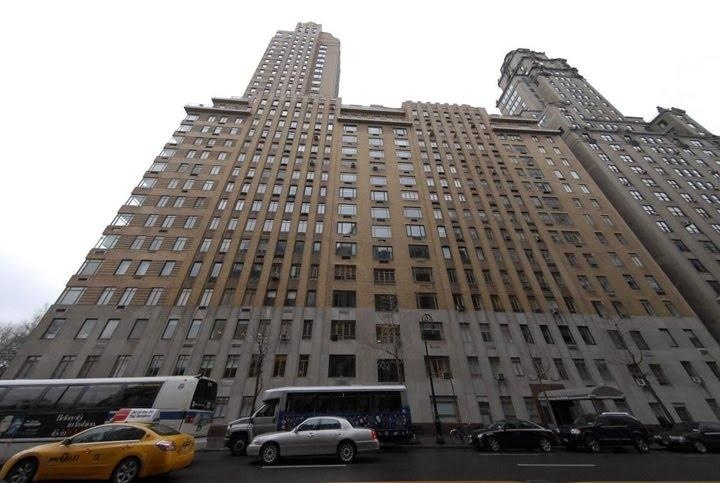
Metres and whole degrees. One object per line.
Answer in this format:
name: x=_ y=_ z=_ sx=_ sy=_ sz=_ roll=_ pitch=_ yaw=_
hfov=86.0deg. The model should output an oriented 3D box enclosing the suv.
suv: x=19.470 y=15.339 z=30.796 sx=6.428 sy=2.881 sz=1.720 roll=3 pitch=-34 yaw=-8
